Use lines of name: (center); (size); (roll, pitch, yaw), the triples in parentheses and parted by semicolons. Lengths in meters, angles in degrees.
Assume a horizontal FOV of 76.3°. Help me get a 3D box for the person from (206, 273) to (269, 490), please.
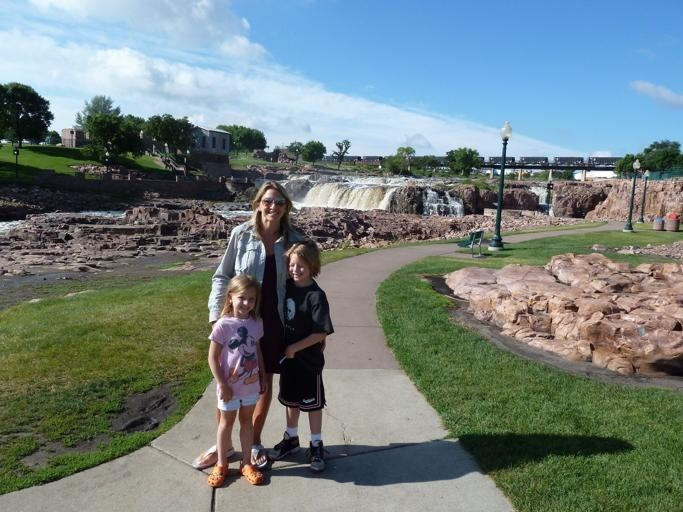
person: (-1.060, 1.223, 4.300); (0.580, 2.004, 0.554); (-3, 13, -10)

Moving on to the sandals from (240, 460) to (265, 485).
sandals: (-0.913, 2.172, 4.371); (0.143, 0.085, 0.240); (7, -6, -40)

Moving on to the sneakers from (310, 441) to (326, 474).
sneakers: (-0.261, 2.070, 4.580); (0.172, 0.274, 0.281); (-1, 12, -5)

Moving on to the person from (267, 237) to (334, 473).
person: (-0.397, 1.033, 4.547); (0.559, 2.326, 0.725); (-3, 13, -11)

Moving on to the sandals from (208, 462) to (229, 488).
sandals: (-1.226, 2.150, 4.244); (0.125, 0.086, 0.235); (6, -9, -3)
